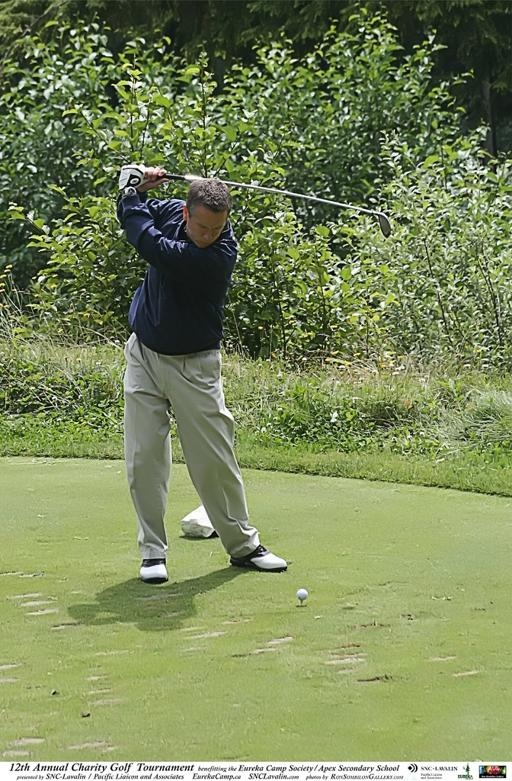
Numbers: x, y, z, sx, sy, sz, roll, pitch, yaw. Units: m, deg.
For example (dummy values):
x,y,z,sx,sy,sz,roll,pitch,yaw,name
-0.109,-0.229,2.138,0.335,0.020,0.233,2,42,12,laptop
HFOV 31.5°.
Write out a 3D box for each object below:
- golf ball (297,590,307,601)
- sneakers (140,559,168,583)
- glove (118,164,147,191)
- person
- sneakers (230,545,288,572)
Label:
x,y,z,sx,sy,sz,roll,pitch,yaw,name
0.168,0.738,3.289,0.039,0.036,0.076,-4,1,3,golf ball
-0.397,0.713,3.593,0.118,0.086,0.097,-5,1,-20,sneakers
-0.484,-0.836,3.585,0.058,0.058,0.159,3,-10,-9,glove
-0.250,-0.058,3.608,0.574,1.492,0.427,-5,1,-8,person
0.017,0.692,3.756,0.204,0.084,0.089,-1,1,29,sneakers
